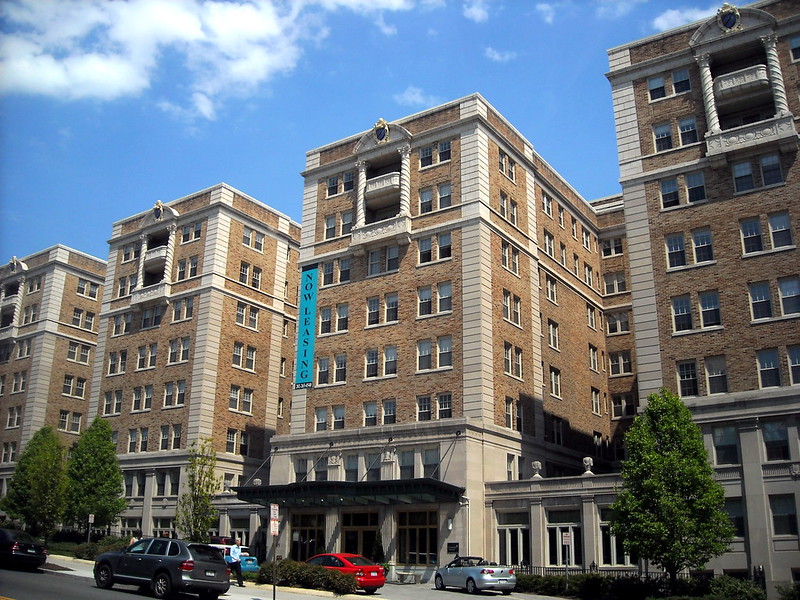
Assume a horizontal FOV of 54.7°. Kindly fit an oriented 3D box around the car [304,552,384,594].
[{"bbox_3d":[-3.253,15.451,43.881,4.476,1.341,2.081,-10,-22,43],"label":"car"}]
